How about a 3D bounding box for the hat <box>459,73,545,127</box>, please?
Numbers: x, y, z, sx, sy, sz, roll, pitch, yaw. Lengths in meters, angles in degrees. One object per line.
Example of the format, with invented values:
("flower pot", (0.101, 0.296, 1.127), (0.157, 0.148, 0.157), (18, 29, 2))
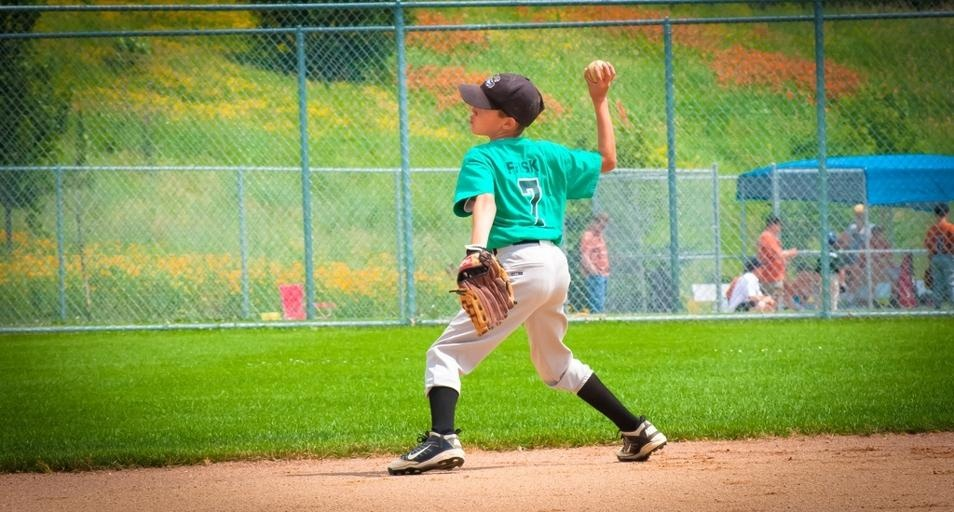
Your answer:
("hat", (0.374, -2.471, 20.819), (1.157, 0.615, 0.724), (25, 17, -11))
